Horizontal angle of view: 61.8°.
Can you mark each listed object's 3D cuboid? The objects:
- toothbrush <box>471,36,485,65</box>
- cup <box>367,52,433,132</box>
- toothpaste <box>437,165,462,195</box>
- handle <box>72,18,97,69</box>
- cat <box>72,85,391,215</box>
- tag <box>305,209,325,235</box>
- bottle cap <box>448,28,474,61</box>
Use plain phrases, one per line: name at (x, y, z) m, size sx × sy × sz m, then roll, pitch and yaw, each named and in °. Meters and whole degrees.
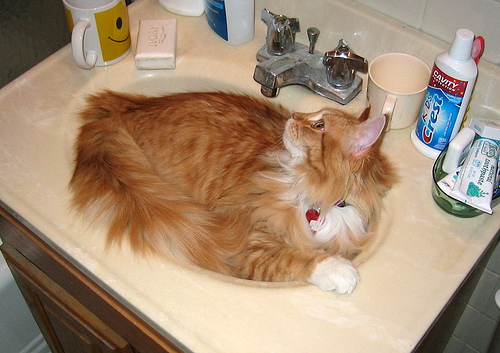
toothbrush at (0.458, -0.257, 0.841) m, size 0.016 × 0.040 × 0.057 m, roll 10°, pitch 87°, yaw 3°
cup at (0.337, -0.220, 1.006) m, size 0.128 × 0.137 × 0.212 m, roll 21°, pitch 57°, yaw 22°
toothpaste at (0.391, 0.010, 0.819) m, size 0.058 × 0.013 × 0.031 m, roll -51°, pitch 49°, yaw -2°
handle at (-0.379, -0.307, 0.965) m, size 0.037 × 0.089 × 0.052 m, roll -7°, pitch 39°, yaw -20°
cat at (-0.056, -0.069, 0.970) m, size 0.588 × 0.282 × 0.341 m, roll 15°, pitch 31°, yaw 2°
tag at (0.137, 0.101, 0.925) m, size 0.033 × 0.012 × 0.048 m, roll 10°, pitch 81°, yaw 26°
bottle cap at (0.402, -0.248, 0.791) m, size 0.039 × 0.051 × 0.025 m, roll 13°, pitch 38°, yaw 16°
